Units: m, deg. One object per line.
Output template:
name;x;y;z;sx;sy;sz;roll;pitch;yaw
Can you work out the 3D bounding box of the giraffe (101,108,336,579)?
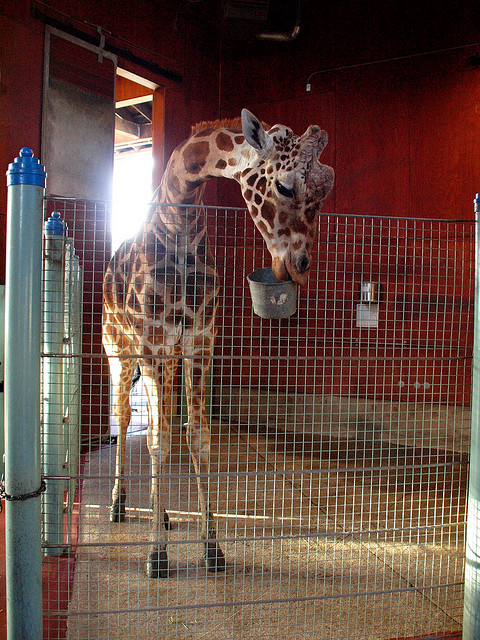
giraffe;-0.218;0.097;3.676;0.623;1.885;1.315;5;-6;-30
